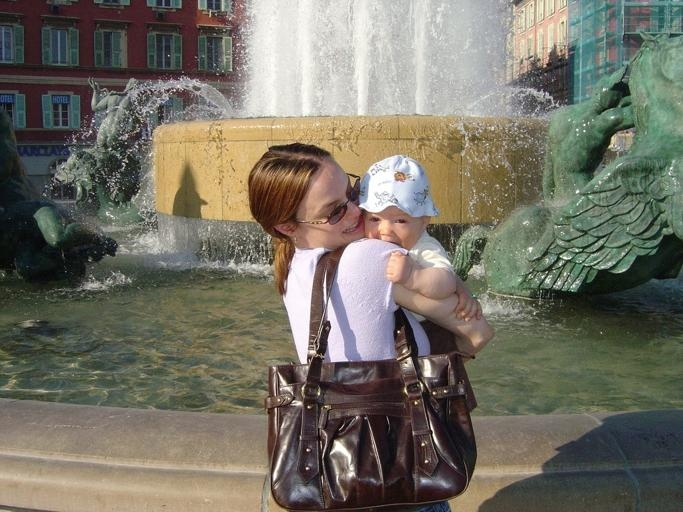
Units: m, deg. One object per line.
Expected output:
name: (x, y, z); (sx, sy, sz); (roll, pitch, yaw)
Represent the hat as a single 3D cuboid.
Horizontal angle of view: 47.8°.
hat: (0.237, -0.318, 3.527); (0.371, 0.318, 0.499); (5, 9, 7)
